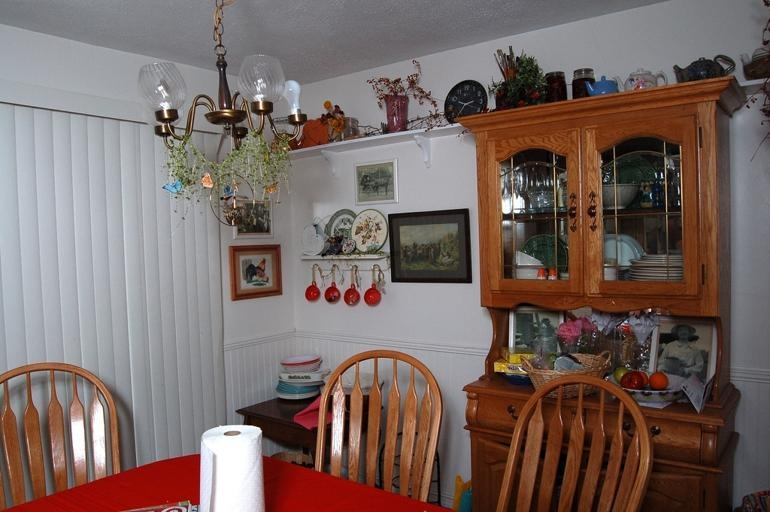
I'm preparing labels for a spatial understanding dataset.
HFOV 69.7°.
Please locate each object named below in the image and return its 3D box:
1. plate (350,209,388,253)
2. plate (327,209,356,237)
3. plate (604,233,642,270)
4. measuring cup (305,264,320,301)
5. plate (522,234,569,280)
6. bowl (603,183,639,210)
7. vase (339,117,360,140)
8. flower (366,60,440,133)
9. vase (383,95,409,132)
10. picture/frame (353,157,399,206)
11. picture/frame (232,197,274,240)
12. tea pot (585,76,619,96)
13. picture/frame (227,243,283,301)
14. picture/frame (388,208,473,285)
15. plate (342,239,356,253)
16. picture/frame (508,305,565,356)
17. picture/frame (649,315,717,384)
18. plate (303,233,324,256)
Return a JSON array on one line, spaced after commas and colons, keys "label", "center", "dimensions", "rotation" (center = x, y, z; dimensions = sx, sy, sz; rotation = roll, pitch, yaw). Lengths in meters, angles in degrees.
[{"label": "plate", "center": [-0.106, -0.178, 4.107], "dimensions": [0.302, 0.313, 0.040], "rotation": [4, 3, 39]}, {"label": "plate", "center": [-0.340, -0.255, 4.265], "dimensions": [0.209, 0.216, 0.050], "rotation": [9, 0, 37]}, {"label": "plate", "center": [1.310, -0.026, 3.037], "dimensions": [0.193, 0.192, 0.148], "rotation": [0, 7, 23]}, {"label": "measuring cup", "center": [-0.579, 0.216, 4.366], "dimensions": [0.162, 0.201, 0.075], "rotation": [-1, 2, 40]}, {"label": "plate", "center": [0.952, -0.002, 3.197], "dimensions": [0.225, 0.232, 0.038], "rotation": [-16, 0, 43]}, {"label": "bowl", "center": [1.292, -0.319, 3.032], "dimensions": [0.143, 0.079, 0.141], "rotation": [1, 3, 0]}, {"label": "vase", "center": [-0.243, -0.920, 4.058], "dimensions": [0.172, 0.177, 0.174], "rotation": [-1, -5, -3]}, {"label": "flower", "center": [0.171, -1.066, 4.041], "dimensions": [0.498, 0.586, 0.518], "rotation": [-1, 3, 26]}, {"label": "vase", "center": [0.078, -0.985, 3.879], "dimensions": [0.183, 0.268, 0.205], "rotation": [-3, 2, 8]}, {"label": "picture/frame", "center": [-0.050, -0.553, 4.074], "dimensions": [0.359, 0.315, 0.017], "rotation": [0, 2, 31]}, {"label": "picture/frame", "center": [-0.966, -0.271, 4.009], "dimensions": [0.032, 0.286, 0.332], "rotation": [5, 4, 35]}, {"label": "tea pot", "center": [1.219, -0.931, 3.085], "dimensions": [0.164, 0.093, 0.112], "rotation": [6, 12, 32]}, {"label": "picture/frame", "center": [-1.011, 0.120, 4.221], "dimensions": [0.031, 0.444, 0.439], "rotation": [-2, 0, 44]}, {"label": "picture/frame", "center": [0.349, -0.069, 3.868], "dimensions": [0.520, 0.445, 0.027], "rotation": [-2, 2, 32]}, {"label": "plate", "center": [-0.269, -0.065, 4.134], "dimensions": [0.097, 0.100, 0.024], "rotation": [-4, -10, 28]}, {"label": "picture/frame", "center": [0.972, 0.473, 3.475], "dimensions": [0.320, 0.376, 0.040], "rotation": [1, -2, 21]}, {"label": "picture/frame", "center": [1.716, 0.536, 3.143], "dimensions": [0.364, 0.435, 0.016], "rotation": [7, -2, 32]}, {"label": "plate", "center": [-0.556, -0.087, 4.301], "dimensions": [0.147, 0.123, 0.169], "rotation": [0, 11, -12]}]
